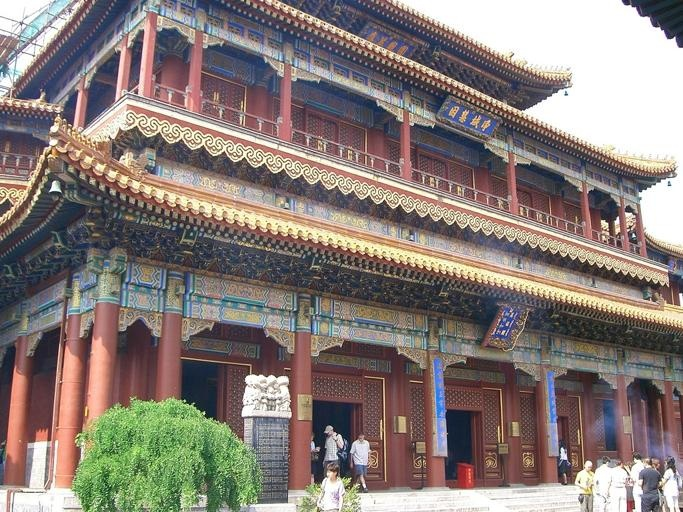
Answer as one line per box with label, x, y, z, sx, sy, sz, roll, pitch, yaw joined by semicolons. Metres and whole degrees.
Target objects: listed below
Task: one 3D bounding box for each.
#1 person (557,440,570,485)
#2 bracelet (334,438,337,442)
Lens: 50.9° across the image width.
person;7.156;6.561;22.933;0.367;1.458;1.398;-4;-22;16
bracelet;-0.116;4.593;17.928;0.039;0.059;0.055;5;-23;-10
